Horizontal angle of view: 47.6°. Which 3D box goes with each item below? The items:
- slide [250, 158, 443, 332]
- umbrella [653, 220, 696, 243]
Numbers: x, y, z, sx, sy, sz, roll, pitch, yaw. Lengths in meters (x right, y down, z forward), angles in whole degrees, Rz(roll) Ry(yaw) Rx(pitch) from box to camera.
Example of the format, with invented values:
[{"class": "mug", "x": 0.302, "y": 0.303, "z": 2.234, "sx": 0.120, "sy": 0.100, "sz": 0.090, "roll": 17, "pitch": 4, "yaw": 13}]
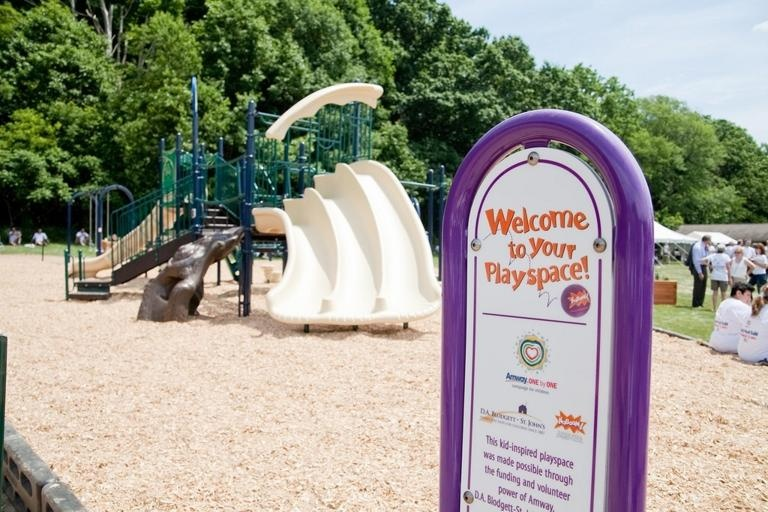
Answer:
[{"class": "slide", "x": -0.952, "y": -0.296, "z": 26.497, "sx": 3.459, "sy": 3.193, "sz": 6.295, "roll": -2, "pitch": 16, "yaw": -18}, {"class": "umbrella", "x": 15.594, "y": -1.317, "z": 46.645, "sx": 1.993, "sy": 1.232, "sz": 2.162, "roll": -1, "pitch": -2, "yaw": 14}]
